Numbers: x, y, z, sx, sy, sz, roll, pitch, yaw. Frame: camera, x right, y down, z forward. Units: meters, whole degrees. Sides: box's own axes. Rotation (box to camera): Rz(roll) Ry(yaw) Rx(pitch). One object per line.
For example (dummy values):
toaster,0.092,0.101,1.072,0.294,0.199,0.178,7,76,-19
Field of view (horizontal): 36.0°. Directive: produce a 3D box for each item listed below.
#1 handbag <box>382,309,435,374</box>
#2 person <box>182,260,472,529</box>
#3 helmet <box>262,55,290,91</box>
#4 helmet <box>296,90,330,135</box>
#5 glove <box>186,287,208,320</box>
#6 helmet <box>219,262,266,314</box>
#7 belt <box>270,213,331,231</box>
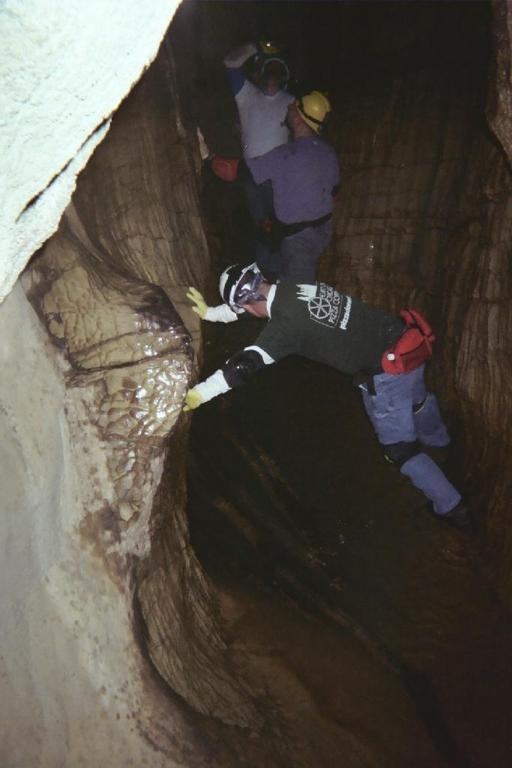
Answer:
handbag,0.690,-0.171,3.515,0.129,0.305,0.250,49,39,5
person,0.371,0.076,3.821,1.184,1.430,0.742,-11,34,31
helmet,0.088,-1.546,3.906,0.139,0.156,0.171,3,7,-3
helmet,0.281,-1.348,3.887,0.148,0.192,0.125,-9,41,1
glove,-0.275,-0.389,3.775,0.041,0.146,0.095,-17,30,17
helmet,-0.060,-0.430,3.566,0.203,0.225,0.159,11,52,-21
belt,0.236,-0.836,4.102,0.207,0.048,0.132,-12,30,1
